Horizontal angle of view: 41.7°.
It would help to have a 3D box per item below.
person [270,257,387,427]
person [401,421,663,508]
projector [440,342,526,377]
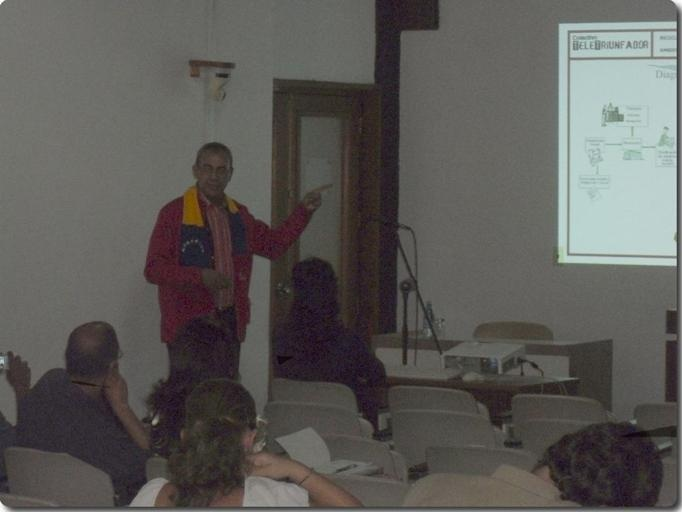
[{"bbox_3d":[-0.072,0.766,5.645,0.663,1.829,0.531,4,32,4],"label":"person"},{"bbox_3d":[0.871,0.933,3.892,1.032,0.391,0.230,1,4,-4],"label":"person"},{"bbox_3d":[0.799,0.581,5.081,0.455,0.169,0.154,2,4,15],"label":"projector"}]
